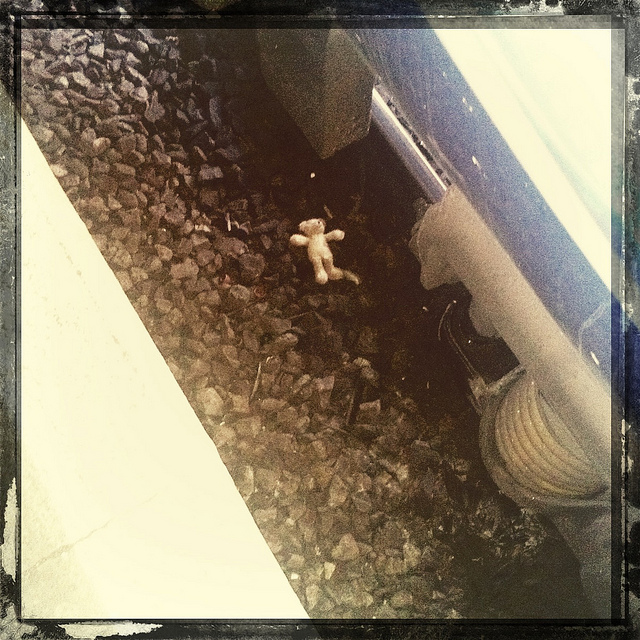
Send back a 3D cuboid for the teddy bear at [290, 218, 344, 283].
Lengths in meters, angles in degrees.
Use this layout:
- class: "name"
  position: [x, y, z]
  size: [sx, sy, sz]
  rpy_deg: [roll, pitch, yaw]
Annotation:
- class: "teddy bear"
  position: [-0.010, -0.222, 2.739]
  size: [0.167, 0.118, 0.140]
  rpy_deg: [1, 50, -1]
